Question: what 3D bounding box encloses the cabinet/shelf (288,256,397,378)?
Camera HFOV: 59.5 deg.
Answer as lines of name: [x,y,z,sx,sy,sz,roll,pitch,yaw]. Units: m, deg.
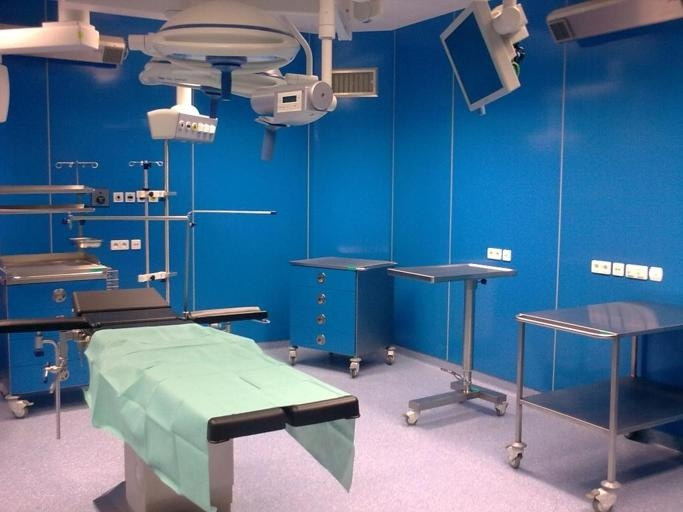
cabinet/shelf: [-0.008,0.488,5.437,0.853,0.900,0.878,2,8,16]
